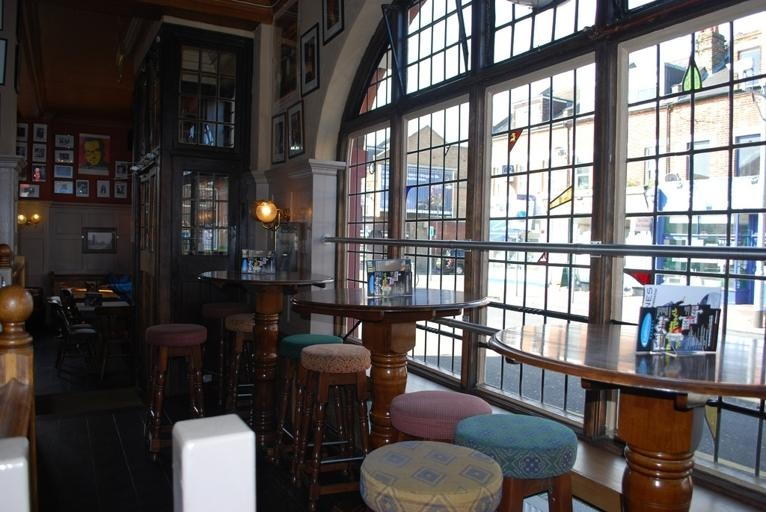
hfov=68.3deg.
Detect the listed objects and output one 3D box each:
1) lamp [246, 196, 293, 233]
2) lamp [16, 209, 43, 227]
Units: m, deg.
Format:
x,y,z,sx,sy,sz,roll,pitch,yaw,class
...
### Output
x,y,z,sx,sy,sz,roll,pitch,yaw,class
-1.158,-0.419,5.885,0.355,0.274,0.218,11,-4,-18,lamp
-7.627,-0.795,12.186,0.461,0.294,0.235,1,3,-44,lamp
